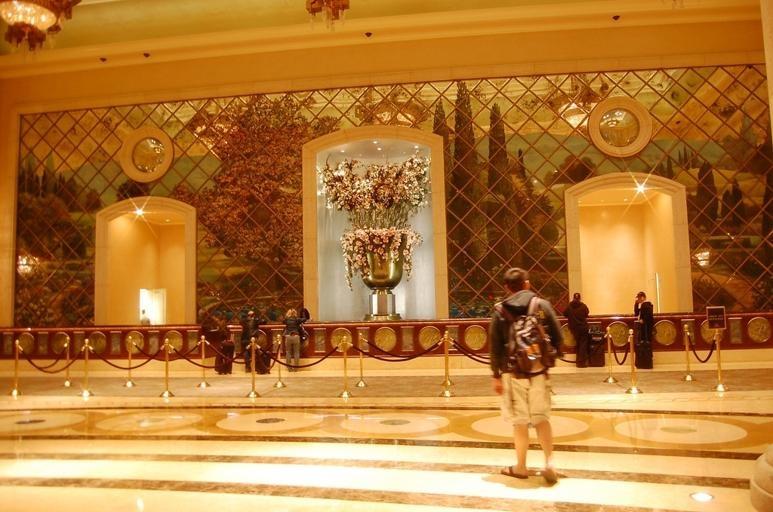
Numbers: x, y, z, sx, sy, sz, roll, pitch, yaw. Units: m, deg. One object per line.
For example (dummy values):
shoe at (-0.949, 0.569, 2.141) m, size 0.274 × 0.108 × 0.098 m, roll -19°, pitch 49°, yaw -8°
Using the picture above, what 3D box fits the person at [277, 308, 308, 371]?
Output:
person at (-1.922, 1.768, 14.035) m, size 0.556 × 1.296 × 1.541 m, roll -4°, pitch 13°, yaw -8°

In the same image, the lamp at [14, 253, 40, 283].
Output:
lamp at (-9.317, 0.296, 17.249) m, size 0.696 × 0.666 × 0.680 m, roll -1°, pitch 3°, yaw 2°

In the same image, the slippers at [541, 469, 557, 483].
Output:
slippers at (2.052, 2.737, 8.241) m, size 0.167 × 0.172 × 0.110 m, roll 0°, pitch 13°, yaw 11°

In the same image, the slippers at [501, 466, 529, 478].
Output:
slippers at (1.634, 2.712, 8.420) m, size 0.286 × 0.098 × 0.139 m, roll 7°, pitch 2°, yaw 36°

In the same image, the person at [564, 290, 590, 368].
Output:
person at (3.986, 1.448, 13.636) m, size 0.401 × 1.260 × 0.623 m, roll -5°, pitch 13°, yaw -10°

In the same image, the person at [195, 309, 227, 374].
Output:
person at (-3.957, 1.817, 14.977) m, size 0.632 × 1.088 × 0.555 m, roll 19°, pitch 3°, yaw -34°

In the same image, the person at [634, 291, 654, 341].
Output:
person at (5.291, 1.273, 13.582) m, size 0.381 × 1.013 × 0.540 m, roll 3°, pitch 14°, yaw 22°
